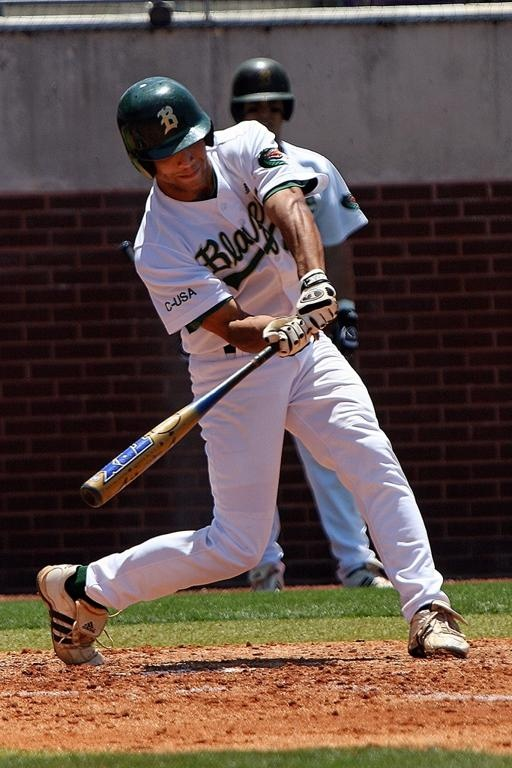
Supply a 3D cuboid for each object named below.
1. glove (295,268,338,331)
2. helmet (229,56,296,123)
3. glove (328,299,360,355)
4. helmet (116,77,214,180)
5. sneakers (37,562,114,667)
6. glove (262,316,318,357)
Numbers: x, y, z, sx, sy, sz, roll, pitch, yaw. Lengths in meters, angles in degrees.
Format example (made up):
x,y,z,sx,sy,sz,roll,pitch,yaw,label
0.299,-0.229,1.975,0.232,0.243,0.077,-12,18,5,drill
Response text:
x,y,z,sx,sy,sz,roll,pitch,yaw,label
0.175,-0.244,4.073,0.078,0.160,0.145,-9,-34,26,glove
0.036,-1.353,6.643,0.295,0.330,0.262,-2,-41,3,helmet
0.407,-0.259,6.292,0.110,0.240,0.193,-6,-8,24,glove
-0.295,-0.803,4.323,0.281,0.306,0.184,-3,4,20,helmet
-0.557,0.742,4.506,0.189,0.352,0.154,-16,-3,23,sneakers
0.082,-0.136,4.041,0.139,0.110,0.113,-3,4,19,glove
